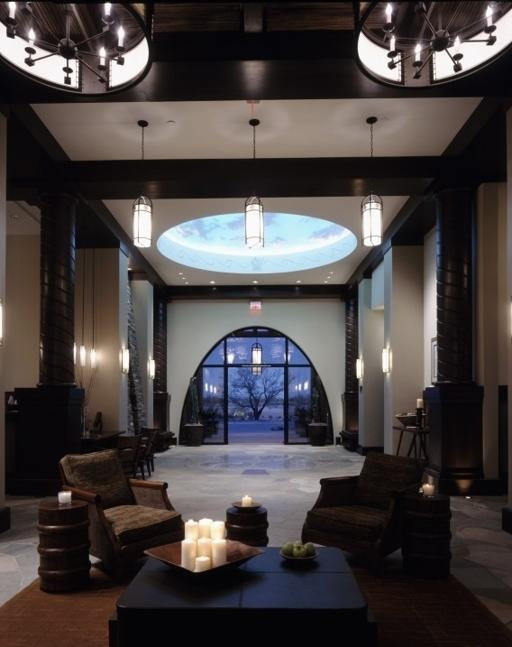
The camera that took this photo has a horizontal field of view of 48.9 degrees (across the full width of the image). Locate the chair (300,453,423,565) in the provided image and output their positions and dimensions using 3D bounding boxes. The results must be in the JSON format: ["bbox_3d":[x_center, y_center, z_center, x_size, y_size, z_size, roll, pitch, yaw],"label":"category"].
[{"bbox_3d":[0.905,1.486,4.511,0.966,0.815,1.083,3,-8,-7],"label":"chair"}]

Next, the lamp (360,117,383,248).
[{"bbox_3d":[1.251,-1.451,6.140,0.203,1.423,0.833,0,-6,11],"label":"lamp"}]

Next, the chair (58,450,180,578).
[{"bbox_3d":[-1.070,1.464,4.449,0.692,0.894,0.918,3,-11,-42],"label":"chair"}]

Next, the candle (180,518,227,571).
[{"bbox_3d":[-0.280,1.196,3.047,0.226,0.265,0.169,2,-3,-42],"label":"candle"}]

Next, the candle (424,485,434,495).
[{"bbox_3d":[1.295,1.252,4.225,0.069,0.078,0.073,-3,5,-28],"label":"candle"}]

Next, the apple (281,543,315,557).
[{"bbox_3d":[0.245,1.328,3.291,0.131,0.065,0.148,2,-6,-3],"label":"apple"}]

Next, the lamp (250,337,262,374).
[{"bbox_3d":[0.017,0.992,16.218,0.298,0.917,0.548,1,-6,-1],"label":"lamp"}]

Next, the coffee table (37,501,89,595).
[{"bbox_3d":[-1.330,1.517,3.923,0.347,0.593,0.350,-5,7,-44],"label":"coffee table"}]
